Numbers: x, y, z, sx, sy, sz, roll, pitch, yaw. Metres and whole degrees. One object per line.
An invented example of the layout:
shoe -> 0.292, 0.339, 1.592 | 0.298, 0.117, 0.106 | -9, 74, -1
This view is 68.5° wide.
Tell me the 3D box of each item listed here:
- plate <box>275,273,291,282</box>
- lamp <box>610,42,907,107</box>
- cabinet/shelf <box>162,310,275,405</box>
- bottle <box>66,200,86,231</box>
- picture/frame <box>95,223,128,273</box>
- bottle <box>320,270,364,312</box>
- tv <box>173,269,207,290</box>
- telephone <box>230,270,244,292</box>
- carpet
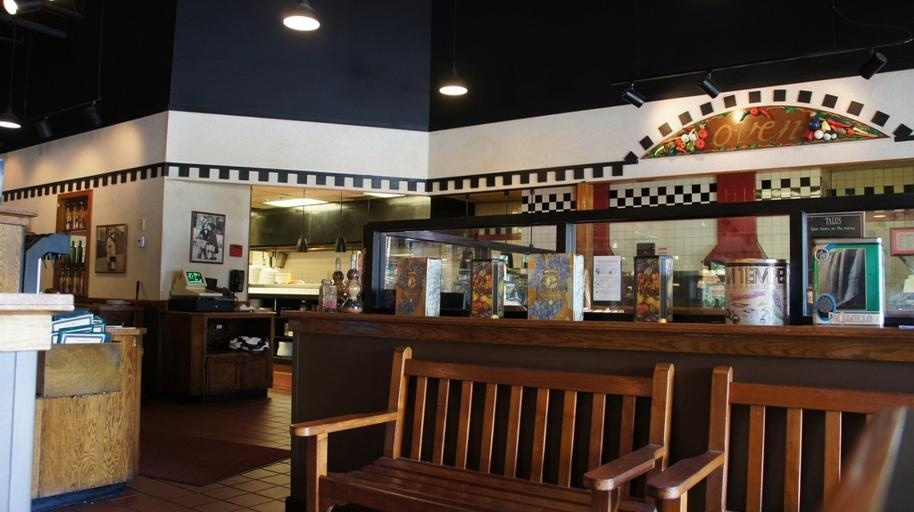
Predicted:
plate -> -3.441, 0.428, 13.448 | 0.224, 0.118, 0.207 | 1, 3, 1
lamp -> 3.374, -2.058, 7.482 | 2.898, 0.645, 1.087 | 3, 5, 19
cabinet/shelf -> -3.221, 1.346, 9.105 | 0.992, 1.072, 1.308 | -7, -9, 40
bottle -> -5.779, -0.619, 10.260 | 0.249, 0.441, 0.506 | 2, -3, -43
picture/frame -> -4.906, -0.104, 9.571 | 0.834, 0.717, 0.044 | -1, -2, 34
bottle -> -0.931, 0.272, 5.493 | 0.442, 0.351, 0.326 | 2, 4, 14
tv -> -3.495, 0.319, 8.866 | 0.319, 0.247, 0.306 | -10, -12, 37
telephone -> -3.094, 0.345, 9.555 | 0.241, 0.319, 0.069 | -3, 6, -45
carpet -> -2.505, 1.970, 6.552 | 1.589, 0.040, 1.011 | 3, 5, 18
